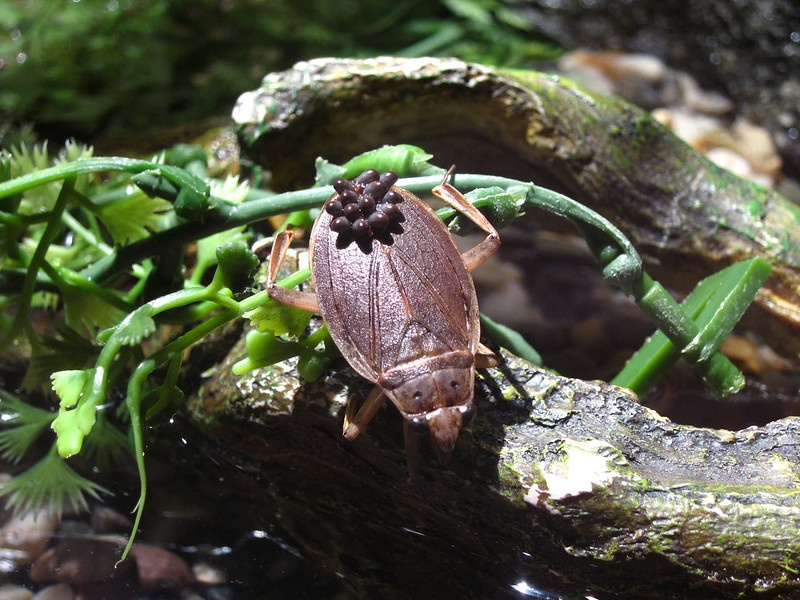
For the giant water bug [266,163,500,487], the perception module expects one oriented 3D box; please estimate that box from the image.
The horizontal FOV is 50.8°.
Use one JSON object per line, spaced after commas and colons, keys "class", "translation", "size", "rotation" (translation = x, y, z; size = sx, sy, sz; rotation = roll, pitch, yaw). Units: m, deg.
{"class": "giant water bug", "translation": [0.020, 0.031, 1.978], "size": [0.532, 0.394, 0.636], "rotation": [-28, 65, -21]}
